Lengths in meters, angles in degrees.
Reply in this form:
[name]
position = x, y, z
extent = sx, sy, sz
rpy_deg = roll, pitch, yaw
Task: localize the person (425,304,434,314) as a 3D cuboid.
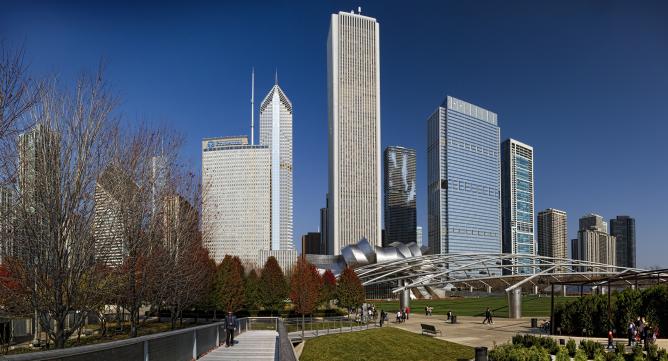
[person]
position = 12.230, 16.708, 86.415
extent = 0.825, 1.130, 2.267
rpy_deg = 10, -2, 8
